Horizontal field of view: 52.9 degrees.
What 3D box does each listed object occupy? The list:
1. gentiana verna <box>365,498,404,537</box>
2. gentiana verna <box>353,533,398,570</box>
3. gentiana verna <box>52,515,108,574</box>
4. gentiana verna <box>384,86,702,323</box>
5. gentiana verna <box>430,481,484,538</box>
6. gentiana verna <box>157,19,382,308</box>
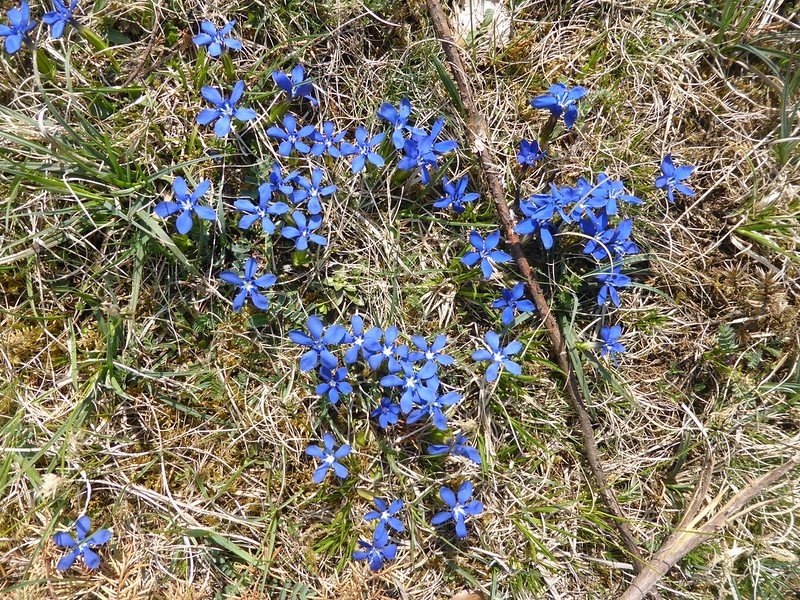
[{"bbox_3d":[-0.064,0.884,3.281,0.164,0.209,0.161,1,84,-1],"label":"gentiana verna"},{"bbox_3d":[-0.099,1.014,3.272,0.138,0.112,0.153,42,84,3],"label":"gentiana verna"},{"bbox_3d":[-1.276,0.988,3.222,0.227,0.075,0.220,10,34,17],"label":"gentiana verna"},{"bbox_3d":[0.575,-0.448,3.350,1.120,0.319,0.826,30,84,2],"label":"gentiana verna"},{"bbox_3d":[0.237,0.830,3.218,0.247,0.110,0.231,6,95,3],"label":"gentiana verna"},{"bbox_3d":[-0.644,-0.564,3.300,0.976,0.289,0.931,42,84,3],"label":"gentiana verna"}]
